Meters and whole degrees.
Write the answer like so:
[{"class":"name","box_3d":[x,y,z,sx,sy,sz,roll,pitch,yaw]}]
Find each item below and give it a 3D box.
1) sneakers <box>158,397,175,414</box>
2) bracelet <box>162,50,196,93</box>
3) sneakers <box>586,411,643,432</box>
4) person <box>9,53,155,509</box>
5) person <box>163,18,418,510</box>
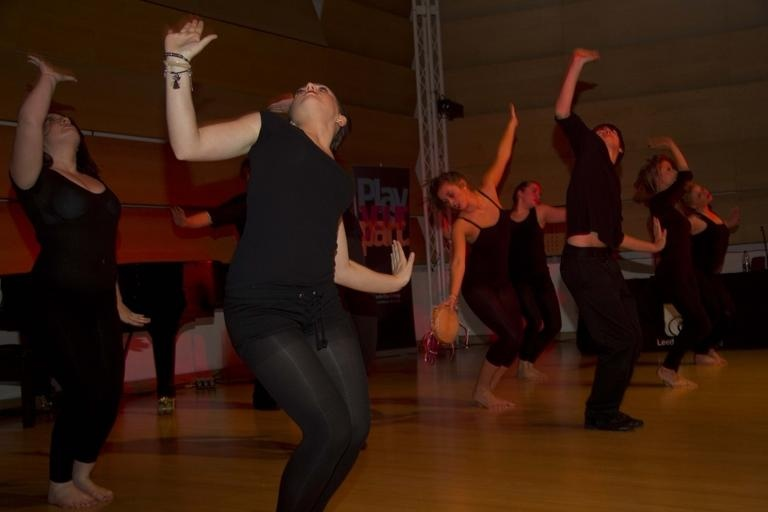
[{"class":"sneakers","box_3d":[-1.942,1.343,5.410,0.137,0.151,0.140,0,-13,-4]},{"class":"bracelet","box_3d":[-0.852,-0.771,2.523,0.112,0.161,0.088,2,-9,1]},{"class":"sneakers","box_3d":[1.650,1.198,4.325,0.308,0.132,0.160,-4,-4,6]},{"class":"person","box_3d":[-1.811,0.152,3.525,0.546,2.563,0.410,-2,5,-9]},{"class":"person","box_3d":[-0.476,0.058,2.618,0.794,2.152,0.300,-1,5,-2]}]
